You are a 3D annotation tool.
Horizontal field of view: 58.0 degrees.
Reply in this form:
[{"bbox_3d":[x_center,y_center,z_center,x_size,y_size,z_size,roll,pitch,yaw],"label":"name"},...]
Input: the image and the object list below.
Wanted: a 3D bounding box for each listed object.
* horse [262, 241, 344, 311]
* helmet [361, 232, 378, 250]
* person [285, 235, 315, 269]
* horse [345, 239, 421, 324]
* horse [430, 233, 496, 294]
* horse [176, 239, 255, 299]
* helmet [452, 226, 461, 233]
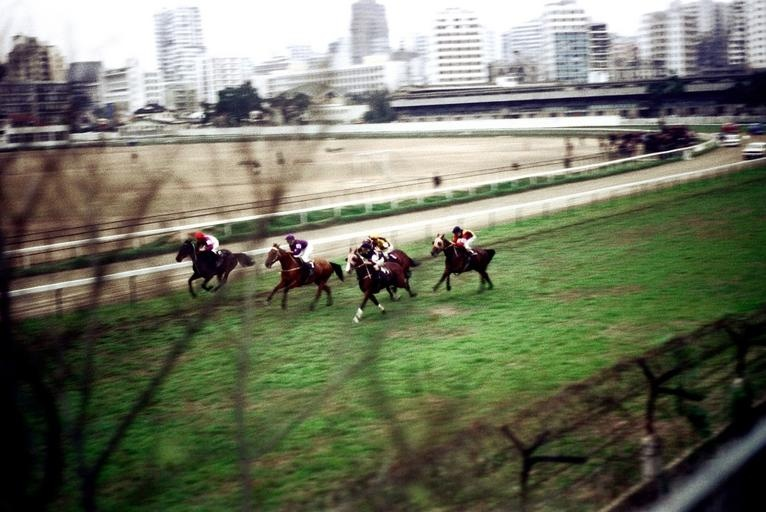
[{"bbox_3d":[-1.478,0.421,13.161,0.572,1.193,2.391,-3,-2,30],"label":"horse"},{"bbox_3d":[-0.255,-0.244,12.325,0.275,0.143,0.315,2,-1,-7],"label":"helmet"},{"bbox_3d":[-1.537,-0.085,12.927,0.404,0.632,0.470,-6,12,-8],"label":"person"},{"bbox_3d":[-0.089,0.333,12.556,0.656,1.366,1.896,0,11,21],"label":"horse"},{"bbox_3d":[1.509,0.111,13.514,1.220,1.154,1.144,-3,11,2],"label":"horse"},{"bbox_3d":[-3.316,0.187,13.881,0.531,1.029,2.109,6,6,29],"label":"horse"},{"bbox_3d":[1.416,-0.522,13.416,0.122,0.072,0.173,27,40,34],"label":"helmet"}]
